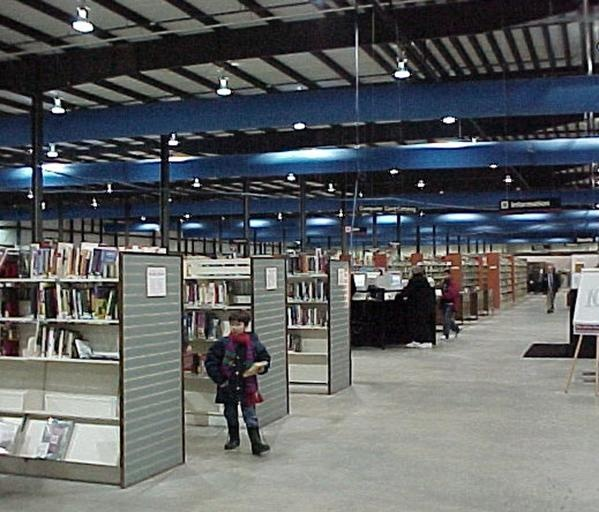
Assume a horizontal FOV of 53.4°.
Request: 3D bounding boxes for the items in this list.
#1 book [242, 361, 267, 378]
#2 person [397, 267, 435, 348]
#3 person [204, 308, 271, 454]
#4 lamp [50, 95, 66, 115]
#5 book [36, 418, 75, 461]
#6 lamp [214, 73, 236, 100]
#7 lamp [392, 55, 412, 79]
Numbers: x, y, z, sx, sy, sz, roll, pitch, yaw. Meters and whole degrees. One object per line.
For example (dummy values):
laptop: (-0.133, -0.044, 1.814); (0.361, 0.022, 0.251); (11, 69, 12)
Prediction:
book: (-0.417, 1.059, 5.515); (0.215, 0.150, 0.154); (-1, 0, 17)
person: (2.538, 1.120, 12.771); (0.724, 1.670, 0.727); (-2, 0, 10)
person: (-0.577, 1.208, 5.640); (0.591, 1.342, 0.409); (-2, 0, 2)
lamp: (-5.224, -3.221, 12.842); (0.273, 0.384, 0.423); (-2, 0, -21)
book: (-2.118, 1.596, 5.160); (0.331, 0.279, 0.073); (2, -22, 22)
lamp: (-1.613, -3.503, 12.387); (0.513, 0.409, 0.483); (3, 5, 24)
lamp: (1.882, -3.455, 11.000); (0.414, 0.366, 0.373); (0, 0, 3)
